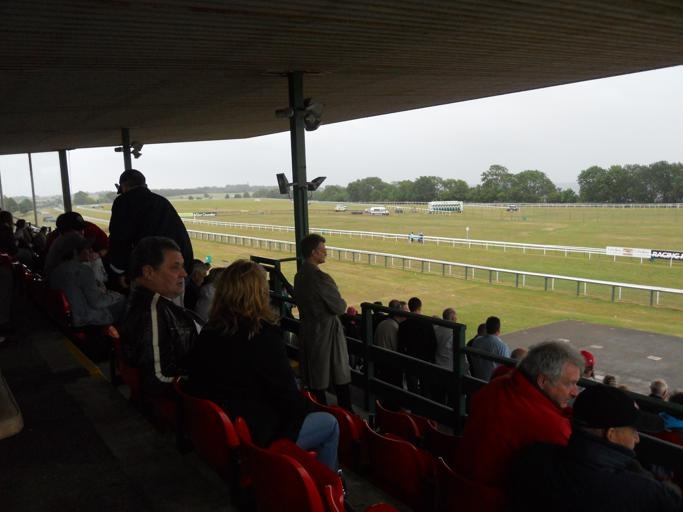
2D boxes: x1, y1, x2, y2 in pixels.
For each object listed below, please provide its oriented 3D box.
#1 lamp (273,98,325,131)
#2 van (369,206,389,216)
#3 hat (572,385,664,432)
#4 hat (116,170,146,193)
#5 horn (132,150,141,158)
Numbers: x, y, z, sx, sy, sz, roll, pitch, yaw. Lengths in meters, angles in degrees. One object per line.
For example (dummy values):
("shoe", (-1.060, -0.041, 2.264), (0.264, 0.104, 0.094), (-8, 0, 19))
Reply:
("lamp", (-0.583, -2.215, 7.290), (0.407, 0.529, 0.922), (7, 10, 37))
("van", (7.507, -8.871, 93.918), (3.647, 1.562, 2.259), (0, 15, 2))
("hat", (1.229, 0.654, 2.115), (0.378, 0.166, 0.227), (-2, 6, 9))
("hat", (-2.006, -0.708, 4.525), (0.200, 0.261, 0.254), (1, 4, -11))
("horn", (-5.180, -2.589, 12.007), (0.180, 0.159, 0.041), (-6, 23, 15))
